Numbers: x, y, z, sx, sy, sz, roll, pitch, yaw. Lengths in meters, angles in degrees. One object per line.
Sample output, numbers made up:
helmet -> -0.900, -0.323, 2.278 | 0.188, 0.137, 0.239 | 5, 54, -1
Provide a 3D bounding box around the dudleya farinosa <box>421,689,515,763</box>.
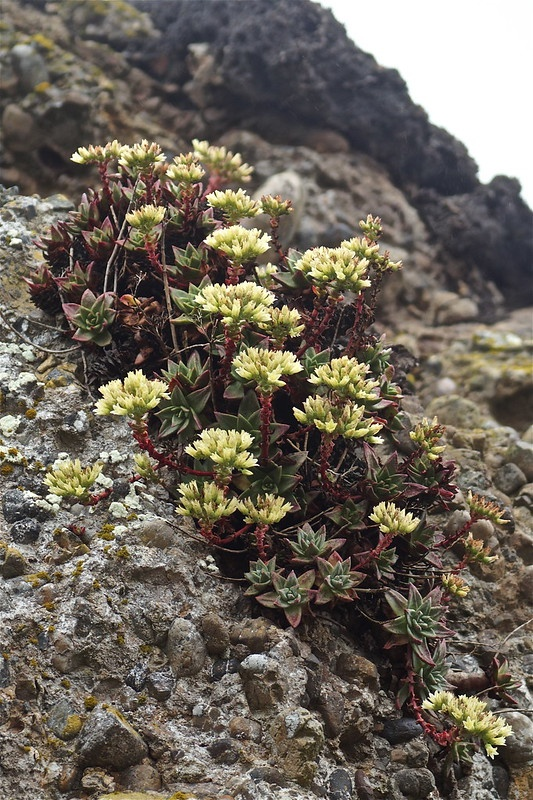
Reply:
dudleya farinosa -> 0.873, 1.443, 5.292 | 0.320, 0.248, 0.306 | 37, 1, 4
